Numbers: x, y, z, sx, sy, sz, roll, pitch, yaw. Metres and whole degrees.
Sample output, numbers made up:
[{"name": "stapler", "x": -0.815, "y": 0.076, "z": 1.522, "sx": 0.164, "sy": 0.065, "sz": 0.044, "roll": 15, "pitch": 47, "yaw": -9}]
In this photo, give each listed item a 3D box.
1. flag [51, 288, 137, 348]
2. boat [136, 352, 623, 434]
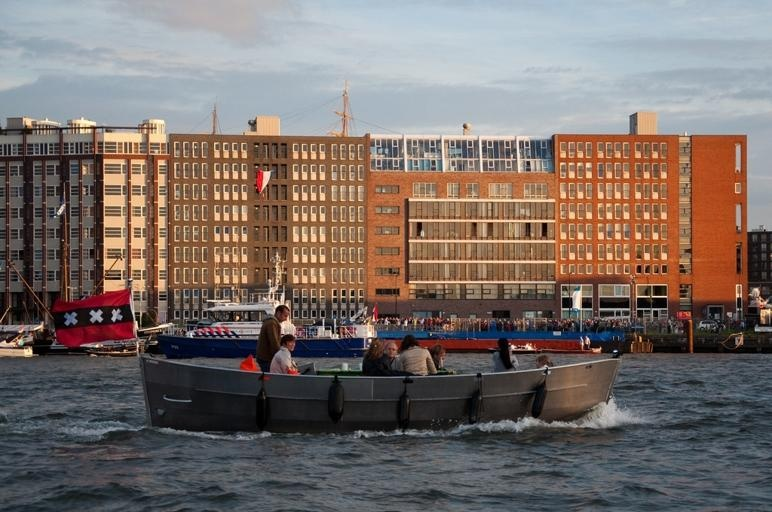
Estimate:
[{"name": "flag", "x": -23.509, "y": 4.798, "z": 134.311, "sx": 5.931, "sy": 4.409, "sz": 2.068, "roll": 0, "pitch": -2, "yaw": -14}, {"name": "boat", "x": 0.361, "y": 11.693, "z": 140.813, "sx": 39.272, "sy": 7.872, "sz": 18.137, "roll": -3, "pitch": -5, "yaw": 7}]
